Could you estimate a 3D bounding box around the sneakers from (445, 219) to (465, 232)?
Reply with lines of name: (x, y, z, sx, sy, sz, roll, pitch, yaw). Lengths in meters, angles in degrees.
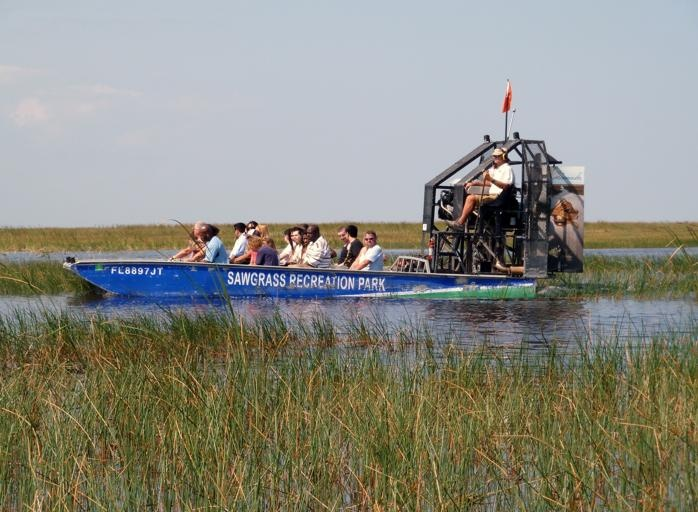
sneakers: (1.872, -0.512, 23.251, 0.134, 0.190, 0.388, 12, -11, 31)

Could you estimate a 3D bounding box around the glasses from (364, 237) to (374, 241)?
glasses: (0.367, -0.293, 23.660, 0.149, 0.089, 0.127, 5, 12, 27)

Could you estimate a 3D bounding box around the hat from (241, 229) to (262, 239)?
hat: (-1.854, -0.417, 25.581, 0.159, 0.155, 0.245, 4, -21, 48)
